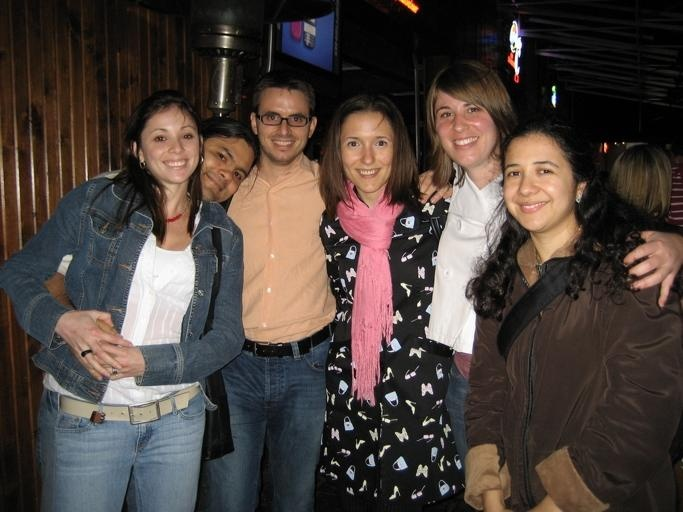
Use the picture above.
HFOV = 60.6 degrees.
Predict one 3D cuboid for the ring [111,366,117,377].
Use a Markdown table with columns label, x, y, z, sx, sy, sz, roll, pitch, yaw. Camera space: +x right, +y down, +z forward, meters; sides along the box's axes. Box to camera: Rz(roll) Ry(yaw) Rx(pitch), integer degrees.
| label | x | y | z | sx | sy | sz | roll | pitch | yaw |
| --- | --- | --- | --- | --- | --- | --- | --- | --- | --- |
| ring | -1.023 | 0.522 | 2.626 | 0.025 | 0.036 | 0.009 | 2 | 3 | 9 |

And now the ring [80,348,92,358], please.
| label | x | y | z | sx | sy | sz | roll | pitch | yaw |
| --- | --- | --- | --- | --- | --- | --- | --- | --- | --- |
| ring | -1.130 | 0.430 | 2.595 | 0.044 | 0.031 | 0.047 | -7 | -37 | -5 |
